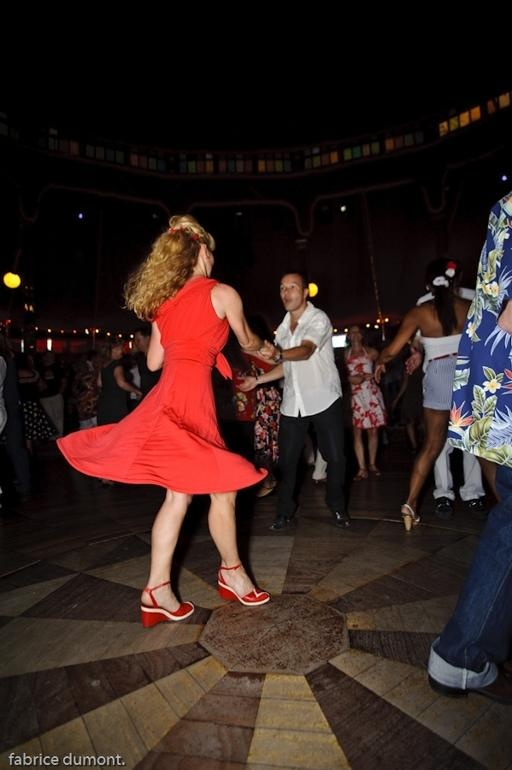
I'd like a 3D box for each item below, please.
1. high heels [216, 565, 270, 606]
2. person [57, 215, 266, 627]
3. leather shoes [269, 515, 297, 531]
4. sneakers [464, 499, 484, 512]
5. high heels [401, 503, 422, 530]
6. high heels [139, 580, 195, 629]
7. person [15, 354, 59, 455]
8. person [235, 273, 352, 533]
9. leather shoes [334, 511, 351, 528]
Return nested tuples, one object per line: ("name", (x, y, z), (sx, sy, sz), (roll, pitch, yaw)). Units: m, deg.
("high heels", (-0.095, 0.851, 2.292), (0.292, 0.185, 0.113), (-1, 0, 18))
("person", (-0.341, 0.105, 2.273), (1.040, 1.530, 0.652), (-2, -2, 8))
("leather shoes", (0.193, 0.924, 3.500), (0.066, 0.068, 0.192), (-6, -14, 32))
("sneakers", (1.587, 0.848, 3.775), (0.065, 0.120, 0.136), (4, -15, -40))
("high heels", (0.979, 0.822, 3.312), (0.079, 0.115, 0.225), (1, 12, 17))
("high heels", (-0.367, 0.871, 2.132), (0.263, 0.169, 0.112), (0, -4, -29))
("person", (-2.859, 0.193, 6.901), (0.565, 1.118, 0.637), (-19, 7, -27))
("person", (0.229, 0.109, 3.547), (0.711, 1.639, 0.672), (-2, -2, 25))
("leather shoes", (0.567, 0.875, 3.437), (0.059, 0.047, 0.130), (0, 11, 5))
